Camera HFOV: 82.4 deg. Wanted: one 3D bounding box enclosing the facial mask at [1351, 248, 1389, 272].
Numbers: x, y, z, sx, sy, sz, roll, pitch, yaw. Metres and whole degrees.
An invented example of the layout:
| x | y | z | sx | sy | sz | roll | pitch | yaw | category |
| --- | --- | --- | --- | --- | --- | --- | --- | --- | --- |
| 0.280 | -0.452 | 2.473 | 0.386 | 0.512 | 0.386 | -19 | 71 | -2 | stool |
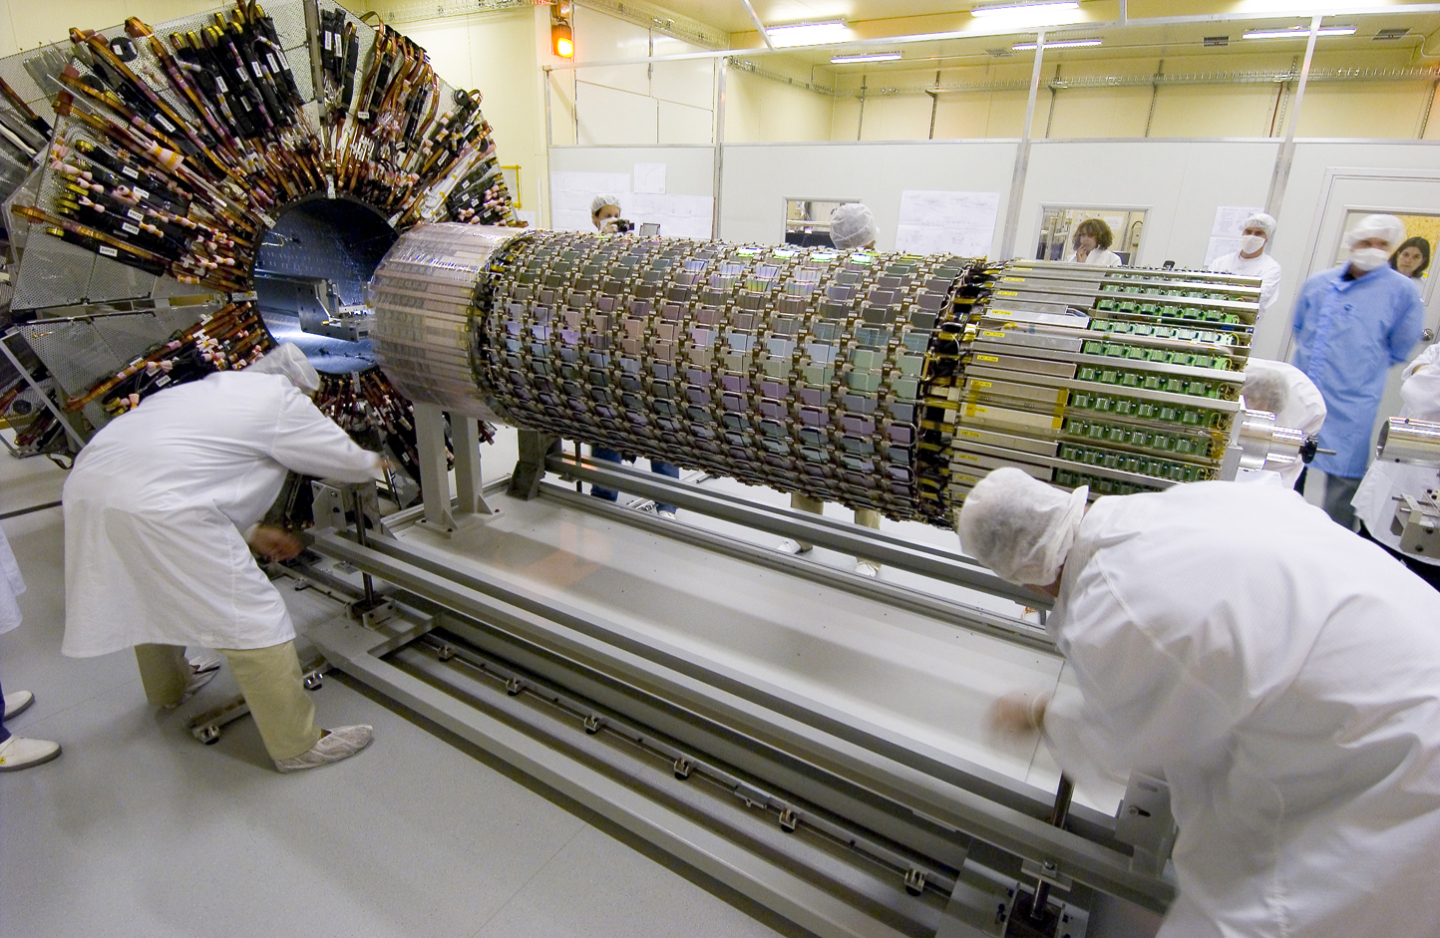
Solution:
| x | y | z | sx | sy | sz | roll | pitch | yaw | category |
| --- | --- | --- | --- | --- | --- | --- | --- | --- | --- |
| 2.941 | -0.942 | 3.737 | 0.103 | 0.057 | 0.104 | 13 | 25 | 31 | facial mask |

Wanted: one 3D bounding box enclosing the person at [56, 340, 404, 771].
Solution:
| x | y | z | sx | sy | sz | roll | pitch | yaw | category |
| --- | --- | --- | --- | --- | --- | --- | --- | --- | --- |
| -1.618 | 0.317 | 2.676 | 0.959 | 1.216 | 1.082 | 32 | 28 | 32 | person |

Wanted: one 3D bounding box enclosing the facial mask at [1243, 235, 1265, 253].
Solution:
| x | y | z | sx | sy | sz | roll | pitch | yaw | category |
| --- | --- | --- | --- | --- | --- | --- | --- | --- | --- |
| 2.585 | -1.083 | 3.987 | 0.080 | 0.054 | 0.088 | 17 | 34 | 38 | facial mask |
